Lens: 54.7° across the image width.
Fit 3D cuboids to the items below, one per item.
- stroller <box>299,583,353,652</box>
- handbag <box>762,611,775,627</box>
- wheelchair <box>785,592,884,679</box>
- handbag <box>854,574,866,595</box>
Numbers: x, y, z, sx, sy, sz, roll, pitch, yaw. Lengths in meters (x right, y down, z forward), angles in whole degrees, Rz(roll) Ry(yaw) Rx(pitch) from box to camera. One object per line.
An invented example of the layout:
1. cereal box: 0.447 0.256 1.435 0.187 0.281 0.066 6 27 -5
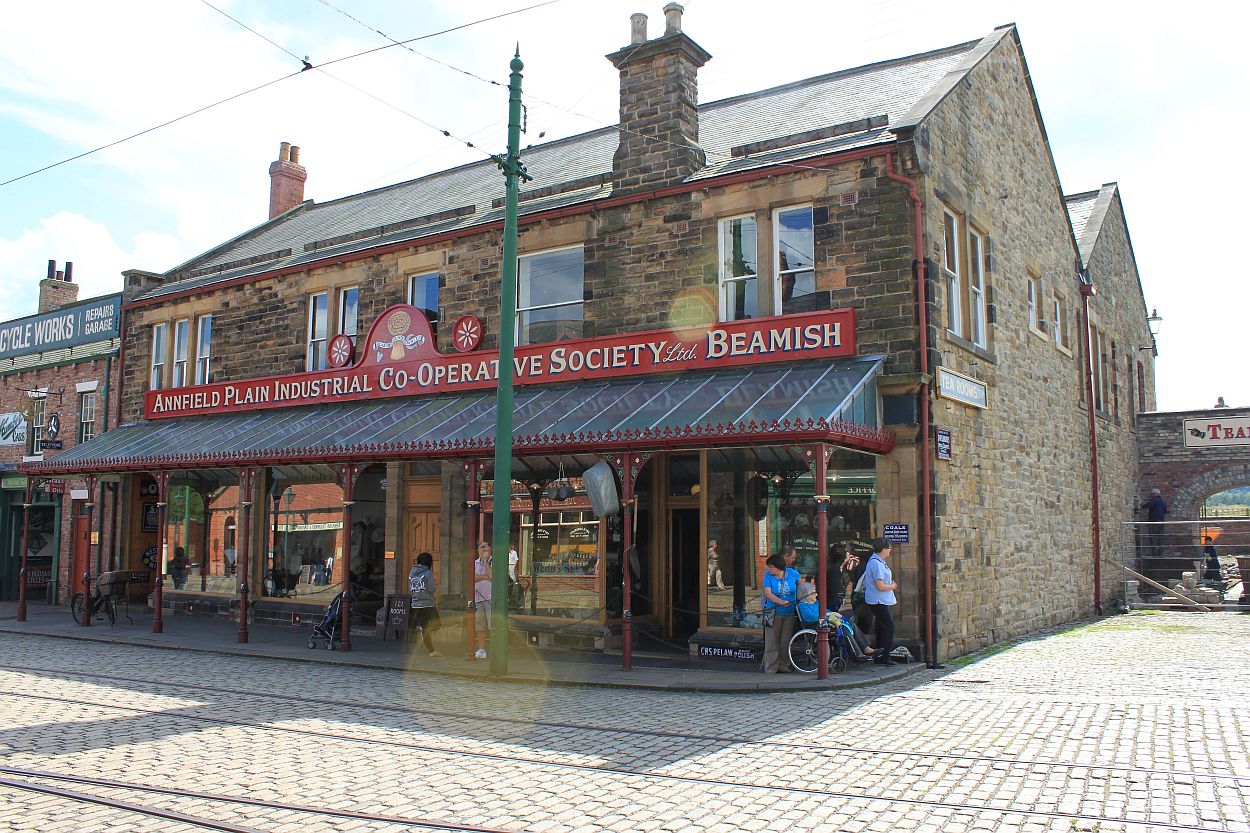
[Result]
1. stroller: -6.300 4.272 25.519 0.755 1.235 1.839 1 -8 -14
2. handbag: 2.655 3.684 22.044 0.220 0.310 0.097 -3 -8 17
3. wheelchair: 3.703 4.000 21.881 1.487 1.258 0.849 -2 -8 7
4. handbag: 4.439 3.158 22.623 0.078 0.308 0.320 15 3 -2
